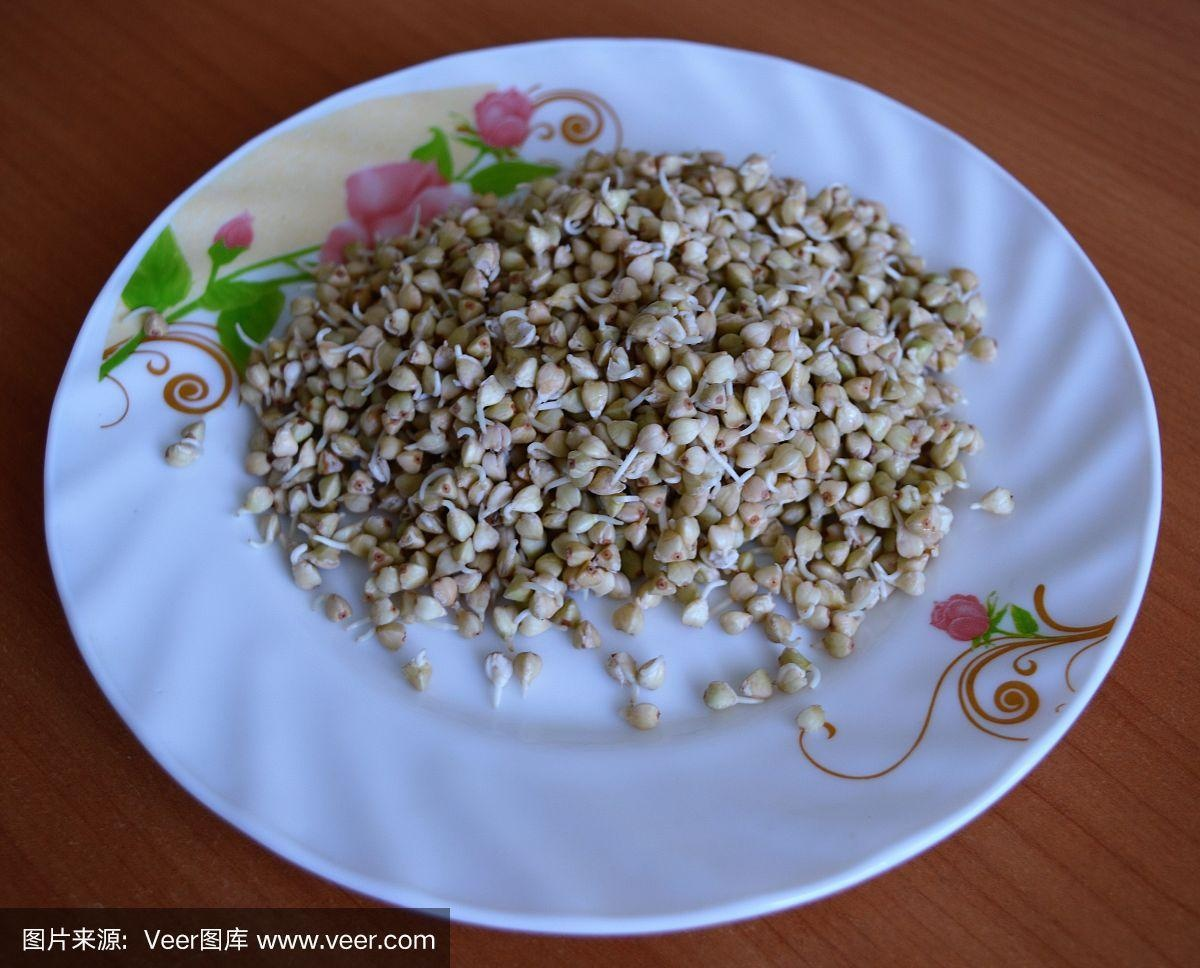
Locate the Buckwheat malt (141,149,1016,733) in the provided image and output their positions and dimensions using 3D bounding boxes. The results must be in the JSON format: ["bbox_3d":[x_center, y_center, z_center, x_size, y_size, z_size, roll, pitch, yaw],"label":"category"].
[{"bbox_3d":[-0.035,-0.030,1.979,0.953,0.363,0.754,1,82,-6],"label":"Buckwheat malt"}]
